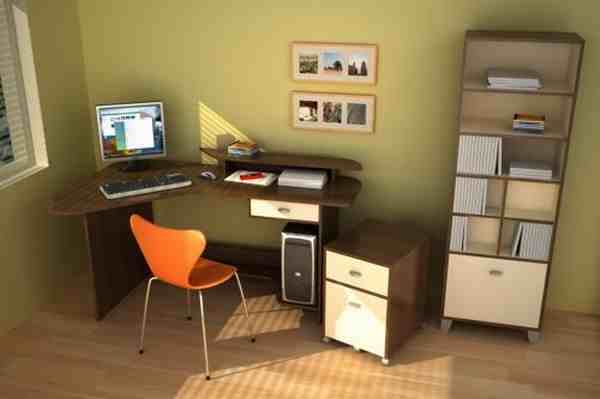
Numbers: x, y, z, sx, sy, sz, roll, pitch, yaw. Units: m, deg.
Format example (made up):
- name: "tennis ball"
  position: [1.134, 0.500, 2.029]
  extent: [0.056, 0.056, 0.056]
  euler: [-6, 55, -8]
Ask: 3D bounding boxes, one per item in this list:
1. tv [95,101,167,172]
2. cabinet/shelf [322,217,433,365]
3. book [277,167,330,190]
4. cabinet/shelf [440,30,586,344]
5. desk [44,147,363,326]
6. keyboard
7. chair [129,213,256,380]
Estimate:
- name: "tv"
  position: [-1.481, -0.577, 4.268]
  extent: [0.643, 0.628, 0.265]
  euler: [-3, 14, -6]
- name: "cabinet/shelf"
  position: [0.611, 0.712, 3.906]
  extent: [0.707, 0.898, 0.675]
  euler: [11, 20, 27]
- name: "book"
  position: [0.020, -0.183, 4.078]
  extent: [0.300, 0.065, 0.207]
  euler: [4, 20, 15]
- name: "cabinet/shelf"
  position: [1.614, -0.046, 3.856]
  extent: [0.785, 2.310, 0.554]
  euler: [5, 20, 22]
- name: "desk"
  position: [-0.825, -0.003, 4.323]
  extent: [2.393, 1.274, 1.572]
  euler: [4, 17, 17]
- name: "keyboard"
  position: [-1.271, -0.116, 4.006]
  extent: [0.728, 0.123, 0.293]
  euler: [-5, 18, -21]
- name: "chair"
  position: [-0.839, 0.685, 3.901]
  extent: [0.876, 1.166, 0.849]
  euler: [5, 14, 8]
